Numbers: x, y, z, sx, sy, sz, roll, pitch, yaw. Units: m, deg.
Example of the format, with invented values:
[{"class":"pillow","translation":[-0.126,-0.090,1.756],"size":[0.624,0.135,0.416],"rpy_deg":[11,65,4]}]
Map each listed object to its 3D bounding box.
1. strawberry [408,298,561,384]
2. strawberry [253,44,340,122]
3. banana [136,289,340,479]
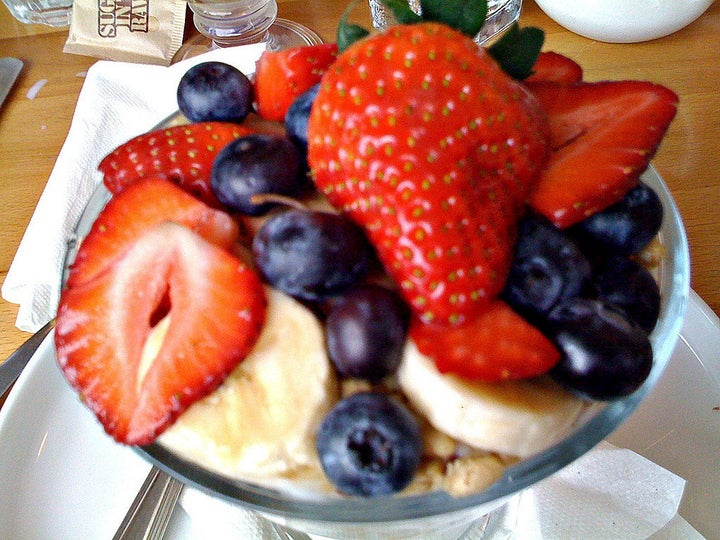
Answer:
[{"class":"strawberry","translation":[0.136,0.083,0.702],"size":[0.156,0.036,0.084],"rpy_deg":[-7,62,-6]},{"class":"strawberry","translation":[-0.093,-0.262,0.898],"size":[0.115,0.091,0.074],"rpy_deg":[-30,88,27]},{"class":"banana","translation":[-0.114,0.130,0.713],"size":[0.185,0.069,0.183],"rpy_deg":[-4,77,5]}]
